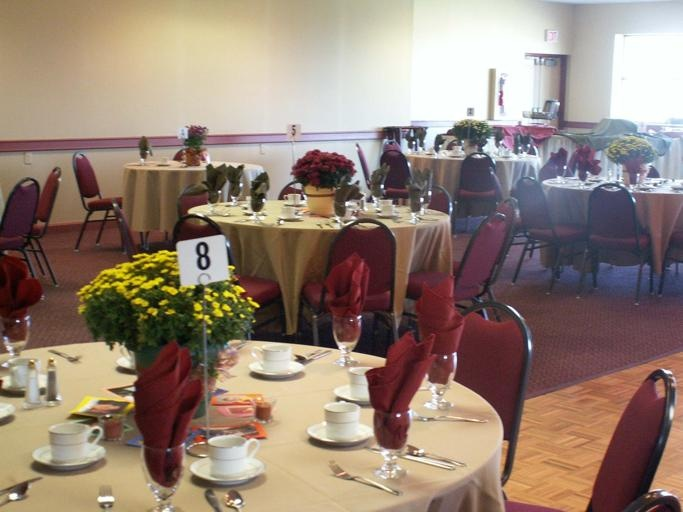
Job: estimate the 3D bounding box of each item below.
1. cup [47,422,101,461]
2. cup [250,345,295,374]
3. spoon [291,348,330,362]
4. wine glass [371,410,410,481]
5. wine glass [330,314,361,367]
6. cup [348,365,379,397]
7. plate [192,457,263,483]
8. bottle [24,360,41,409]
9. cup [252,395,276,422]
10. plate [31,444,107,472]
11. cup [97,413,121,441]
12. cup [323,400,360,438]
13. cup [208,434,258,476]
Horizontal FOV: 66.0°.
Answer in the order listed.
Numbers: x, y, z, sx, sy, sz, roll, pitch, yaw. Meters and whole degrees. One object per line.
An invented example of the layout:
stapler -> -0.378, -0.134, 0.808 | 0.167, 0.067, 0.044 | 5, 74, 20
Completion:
cup -> -0.591, 0.413, 1.162 | 0.097, 0.074, 0.072 | 3, -3, -28
cup -> -0.233, 0.329, 1.688 | 0.105, 0.070, 0.069 | 0, 5, 5
spoon -> -0.095, 0.331, 1.778 | 0.043, 0.014, 0.080 | 2, 7, 34
wine glass -> 0.108, 0.391, 1.125 | 0.073, 0.152, 0.090 | 3, 15, 16
wine glass -> 0.021, 0.268, 1.710 | 0.096, 0.159, 0.101 | 3, 7, 16
cup -> 0.064, 0.352, 1.511 | 0.090, 0.090, 0.121 | 0, 6, 1
plate -> -0.245, 0.451, 1.114 | 0.162, 0.023, 0.092 | -1, 15, 0
bottle -> -0.845, 0.339, 1.428 | 0.044, 0.103, 0.104 | -10, 17, -31
cup -> -0.203, 0.403, 1.389 | 0.047, 0.042, 0.047 | 1, 4, 0
plate -> -0.606, 0.438, 1.146 | 0.161, 0.030, 0.081 | 0, 15, 1
cup -> -0.554, 0.405, 1.254 | 0.050, 0.055, 0.051 | 2, 10, 0
cup -> -0.001, 0.405, 1.286 | 0.093, 0.073, 0.091 | 1, -3, 0
cup -> -0.232, 0.429, 1.133 | 0.106, 0.071, 0.080 | 3, -2, -26
